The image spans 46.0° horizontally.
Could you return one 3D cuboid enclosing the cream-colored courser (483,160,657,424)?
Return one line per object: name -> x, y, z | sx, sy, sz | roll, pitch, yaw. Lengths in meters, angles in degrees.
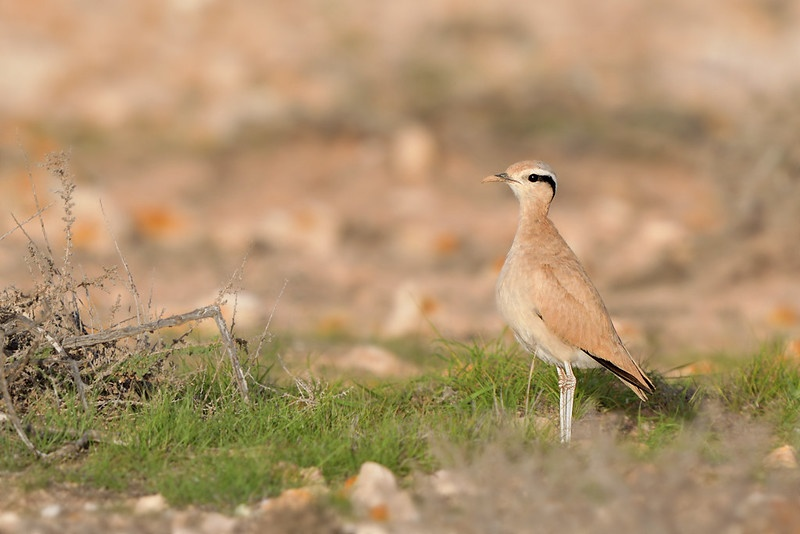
cream-colored courser -> 1.309, 0.263, 8.042 | 0.957, 2.379, 0.808 | -15, -28, 9
